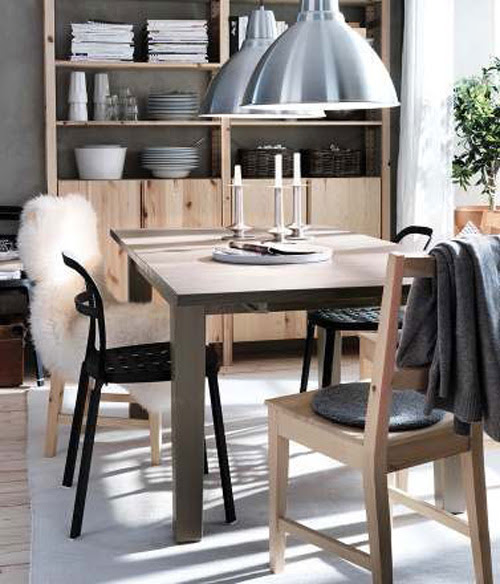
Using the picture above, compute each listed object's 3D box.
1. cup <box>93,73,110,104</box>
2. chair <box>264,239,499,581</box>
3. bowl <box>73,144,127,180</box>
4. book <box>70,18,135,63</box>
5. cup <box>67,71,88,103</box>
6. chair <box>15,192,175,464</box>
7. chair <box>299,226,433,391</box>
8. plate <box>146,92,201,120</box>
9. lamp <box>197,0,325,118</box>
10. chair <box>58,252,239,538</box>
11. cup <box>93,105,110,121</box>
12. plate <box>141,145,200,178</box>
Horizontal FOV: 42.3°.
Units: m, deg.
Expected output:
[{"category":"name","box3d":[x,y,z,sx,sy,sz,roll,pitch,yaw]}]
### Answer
[{"category":"cup","box3d":[-0.831,-1.140,3.599,0.084,0.185,0.160,-2,7,-13]},{"category":"chair","box3d":[0.282,0.296,1.447,0.383,0.794,0.478,-4,8,-29]},{"category":"bowl","box3d":[-0.819,-0.680,3.571,0.233,0.133,0.215,-1,0,0]},{"category":"book","box3d":[-0.790,-1.325,3.435,0.300,0.131,0.370,-1,8,-12]},{"category":"cup","box3d":[-0.953,-1.132,3.558,0.094,0.186,0.130,-2,7,-11]},{"category":"chair","box3d":[-0.453,0.105,2.437,0.639,0.993,0.595,-4,3,27]},{"category":"chair","box3d":[0.447,0.084,2.416,0.441,0.638,0.397,-6,12,-13]},{"category":"plate","box3d":[-0.435,-1.039,3.646,0.277,0.149,0.115,-2,7,-13]},{"category":"lamp","box3d":[-0.033,-0.767,2.508,0.512,0.555,0.548,1,5,-4]},{"category":"chair","box3d":[-0.316,0.290,1.971,0.533,0.744,0.510,-1,2,-2]},{"category":"cup","box3d":[-0.816,-0.987,3.575,0.087,0.095,0.086,2,11,0]},{"category":"plate","box3d":[-0.446,-0.723,3.666,0.219,0.117,0.217,-1,10,3]}]
